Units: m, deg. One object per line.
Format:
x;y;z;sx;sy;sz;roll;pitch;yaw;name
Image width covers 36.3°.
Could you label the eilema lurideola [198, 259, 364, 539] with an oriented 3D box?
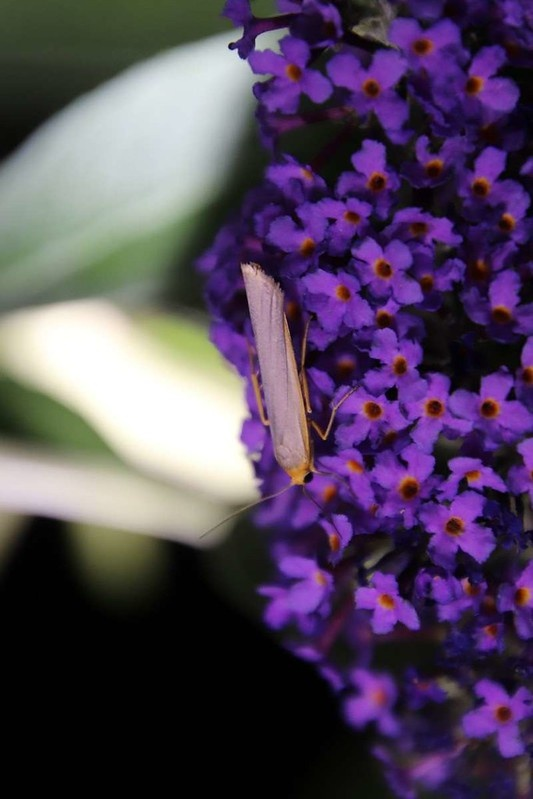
0.009;-0.007;0.493;0.110;0.117;0.041;12;48;31;eilema lurideola
